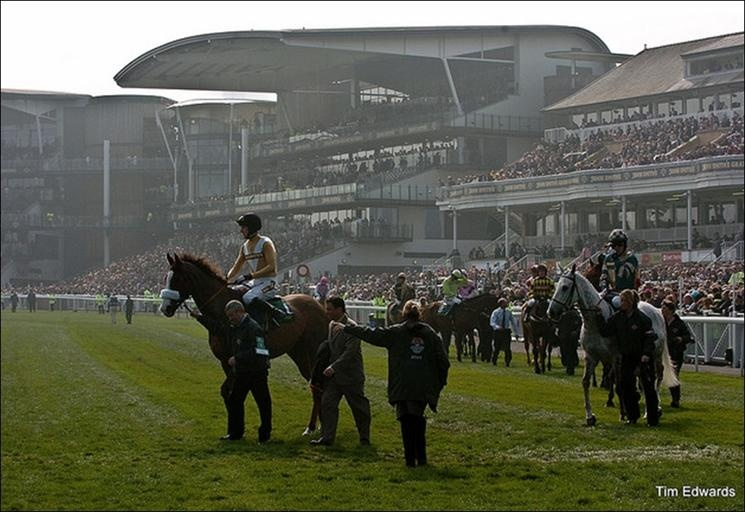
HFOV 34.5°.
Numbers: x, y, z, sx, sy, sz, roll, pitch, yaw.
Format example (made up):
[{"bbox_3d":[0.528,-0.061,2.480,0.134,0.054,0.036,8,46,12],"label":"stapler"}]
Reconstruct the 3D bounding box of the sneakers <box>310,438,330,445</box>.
[{"bbox_3d":[-1.210,4.231,27.219,0.467,0.191,0.175,1,-7,34],"label":"sneakers"}]

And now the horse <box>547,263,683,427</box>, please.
[{"bbox_3d":[5.590,2.054,28.530,2.859,3.558,1.612,2,14,7],"label":"horse"}]

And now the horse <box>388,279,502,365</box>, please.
[{"bbox_3d":[2.575,2.032,35.165,2.035,2.049,0.785,7,16,26],"label":"horse"}]

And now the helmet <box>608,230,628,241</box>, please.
[{"bbox_3d":[5.815,-0.481,28.531,0.362,0.277,0.428,1,14,4],"label":"helmet"}]

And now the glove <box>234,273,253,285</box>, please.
[{"bbox_3d":[-2.972,0.541,27.523,0.252,0.116,0.340,-16,2,16],"label":"glove"}]

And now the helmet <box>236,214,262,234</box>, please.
[{"bbox_3d":[-2.874,-0.818,27.739,0.486,0.366,0.491,31,19,35],"label":"helmet"}]

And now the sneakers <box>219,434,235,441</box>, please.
[{"bbox_3d":[-3.351,4.174,27.516,0.131,0.158,0.410,6,-4,-35],"label":"sneakers"}]
